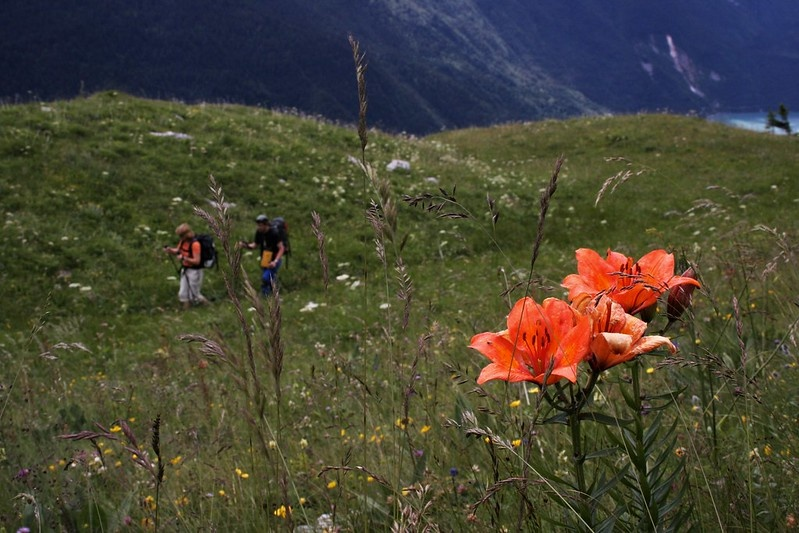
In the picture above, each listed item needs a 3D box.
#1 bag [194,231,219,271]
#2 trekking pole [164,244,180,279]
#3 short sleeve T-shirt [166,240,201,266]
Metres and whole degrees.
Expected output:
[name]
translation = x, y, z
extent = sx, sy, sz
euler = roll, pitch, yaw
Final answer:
[bag]
translation = -7.507, -0.852, 32.840
extent = 0.796, 1.591, 1.131
euler = -11, 44, -21
[trekking pole]
translation = -8.903, -0.214, 33.161
extent = 0.302, 1.271, 1.106
euler = -4, 0, -38
[short sleeve T-shirt]
translation = -8.058, -0.420, 32.329
extent = 1.002, 0.939, 0.833
euler = -6, 13, 8
